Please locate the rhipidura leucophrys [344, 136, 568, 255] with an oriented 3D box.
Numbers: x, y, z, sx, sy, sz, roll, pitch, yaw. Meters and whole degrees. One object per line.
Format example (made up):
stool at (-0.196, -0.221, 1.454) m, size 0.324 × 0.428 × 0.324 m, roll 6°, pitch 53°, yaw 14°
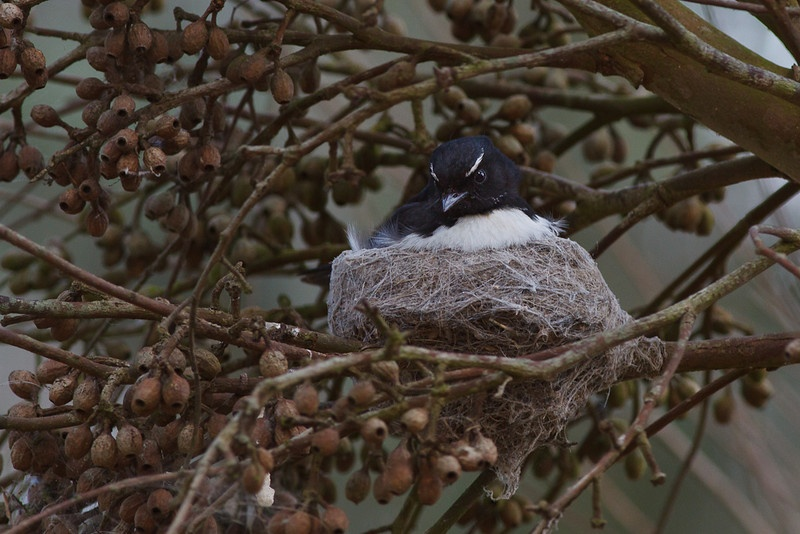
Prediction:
rhipidura leucophrys at (0.343, -0.450, 5.469) m, size 0.701 × 0.777 × 0.346 m, roll -5°, pitch -93°, yaw 3°
